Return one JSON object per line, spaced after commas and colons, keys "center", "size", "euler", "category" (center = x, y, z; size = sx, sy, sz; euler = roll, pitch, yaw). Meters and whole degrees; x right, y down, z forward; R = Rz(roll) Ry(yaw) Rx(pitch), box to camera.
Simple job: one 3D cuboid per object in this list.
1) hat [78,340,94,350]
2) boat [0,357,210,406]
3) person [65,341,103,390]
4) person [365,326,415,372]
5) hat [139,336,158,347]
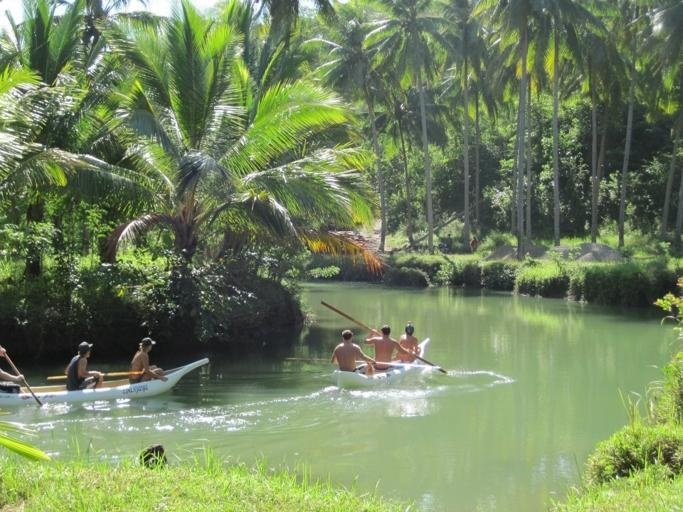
{"center": [-6.010, 2.084, 18.656], "size": [0.225, 0.226, 0.346], "euler": [11, 17, 22], "category": "hat"}
{"center": [-5.369, 2.858, 17.833], "size": [4.116, 0.878, 0.791], "euler": [-1, -15, -15], "category": "boat"}
{"center": [-5.945, 2.542, 18.289], "size": [0.562, 1.222, 0.565], "euler": [-6, 17, -44], "category": "person"}
{"center": [1.110, 2.140, 20.061], "size": [0.977, 1.101, 1.731], "euler": [-5, 7, 1], "category": "person"}
{"center": [-4.680, 2.055, 19.201], "size": [0.253, 0.245, 0.410], "euler": [3, 15, 5], "category": "hat"}
